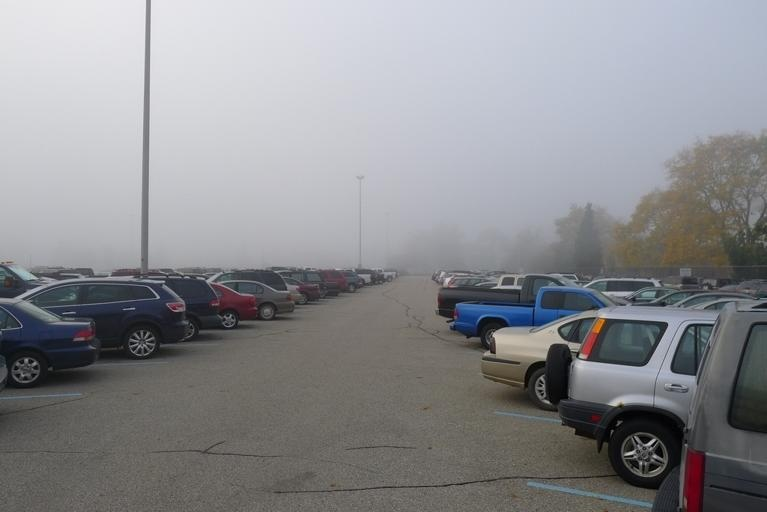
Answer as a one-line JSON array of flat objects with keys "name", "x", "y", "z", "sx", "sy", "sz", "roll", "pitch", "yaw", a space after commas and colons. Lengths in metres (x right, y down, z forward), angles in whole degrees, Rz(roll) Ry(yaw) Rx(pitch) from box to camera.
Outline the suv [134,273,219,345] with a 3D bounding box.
[{"name": "suv", "x": -6.312, "y": 1.531, "z": 18.062, "sx": 3.220, "sy": 1.402, "sz": 1.492, "roll": 4, "pitch": -2, "yaw": -6}]

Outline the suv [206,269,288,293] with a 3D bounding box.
[{"name": "suv", "x": -6.139, "y": 1.168, "z": 25.723, "sx": 2.862, "sy": 1.258, "sz": 1.092, "roll": 5, "pitch": -5, "yaw": -31}]

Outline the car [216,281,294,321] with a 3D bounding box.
[{"name": "car", "x": -5.497, "y": 1.834, "z": 23.545, "sx": 3.208, "sy": 1.039, "sz": 1.409, "roll": 4, "pitch": -5, "yaw": -15}]
